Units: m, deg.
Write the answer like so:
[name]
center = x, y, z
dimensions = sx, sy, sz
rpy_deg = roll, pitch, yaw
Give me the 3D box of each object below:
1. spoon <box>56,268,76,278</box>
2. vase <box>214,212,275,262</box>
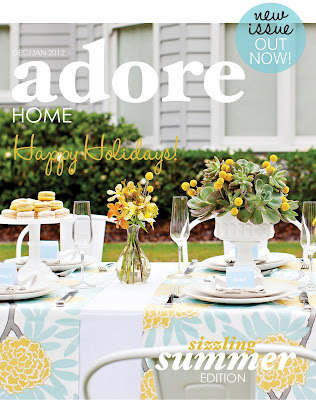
[spoon]
center = -0.383, 0.307, 2.107
dimensions = 0.023, 0.021, 0.085
rpy_deg = -4, -4, 27
[vase]
center = 0.312, 0.132, 1.863
dimensions = 0.197, 0.143, 0.186
rpy_deg = 0, -4, -1
